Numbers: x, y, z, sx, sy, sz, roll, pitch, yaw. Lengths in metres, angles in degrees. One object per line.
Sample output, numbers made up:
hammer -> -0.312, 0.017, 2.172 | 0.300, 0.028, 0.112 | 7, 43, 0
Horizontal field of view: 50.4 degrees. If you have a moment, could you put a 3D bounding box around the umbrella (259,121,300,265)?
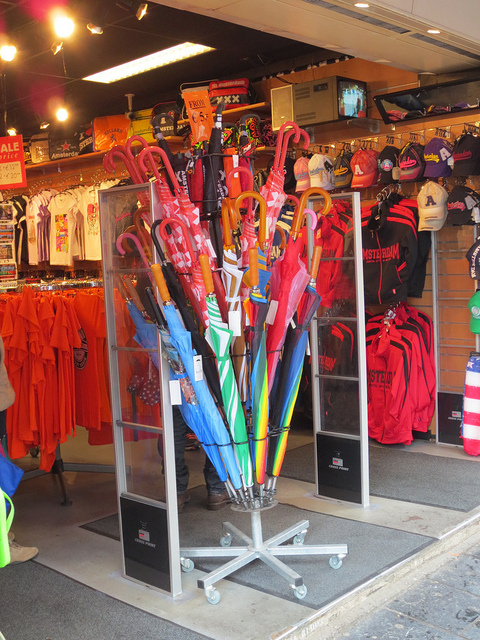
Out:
umbrella -> 0.141, -0.510, 2.027 | 0.135, 0.601, 0.103 | 7, -6, -40

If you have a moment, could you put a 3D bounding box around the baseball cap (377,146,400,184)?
baseball cap -> 1.202, -1.264, 4.165 | 0.215, 0.225, 0.125 | -4, -2, 34

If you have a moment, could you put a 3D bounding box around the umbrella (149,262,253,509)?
umbrella -> -0.154, 0.228, 1.883 | 0.125, 0.856, 0.325 | -4, -2, 33

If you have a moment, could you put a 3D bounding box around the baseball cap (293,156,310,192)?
baseball cap -> 0.566, -1.320, 4.635 | 0.141, 0.351, 0.279 | -3, -2, 6

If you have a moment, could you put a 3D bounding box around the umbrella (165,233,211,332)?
umbrella -> -0.189, -0.142, 1.862 | 0.058, 0.384, 0.069 | -24, 14, -10

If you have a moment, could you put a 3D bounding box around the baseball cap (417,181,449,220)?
baseball cap -> 1.486, -0.892, 3.940 | 0.193, 0.293, 0.189 | 5, -19, 28

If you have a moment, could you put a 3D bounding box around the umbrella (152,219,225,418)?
umbrella -> -0.191, 0.007, 1.868 | 0.080, 0.792, 0.097 | -22, 3, 13

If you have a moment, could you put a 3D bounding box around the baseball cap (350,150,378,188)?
baseball cap -> 1.038, -1.241, 4.298 | 0.212, 0.301, 0.193 | 12, -4, 37

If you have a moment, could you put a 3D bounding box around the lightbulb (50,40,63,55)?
lightbulb -> -1.409, -2.143, 3.967 | 0.086, 0.155, 0.037 | 3, -15, -4

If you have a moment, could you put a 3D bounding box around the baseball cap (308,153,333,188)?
baseball cap -> 0.697, -1.301, 4.440 | 0.219, 0.300, 0.117 | -3, -2, 15

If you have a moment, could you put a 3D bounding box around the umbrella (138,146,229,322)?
umbrella -> -0.212, -0.313, 1.931 | 0.106, 0.708, 0.148 | -22, 8, 15

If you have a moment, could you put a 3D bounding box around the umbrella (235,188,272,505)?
umbrella -> 0.086, 0.098, 1.901 | 0.164, 0.972, 0.173 | 1, 4, 7

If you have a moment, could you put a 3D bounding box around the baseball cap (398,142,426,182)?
baseball cap -> 1.336, -1.236, 3.981 | 0.219, 0.232, 0.146 | -4, -2, 36
